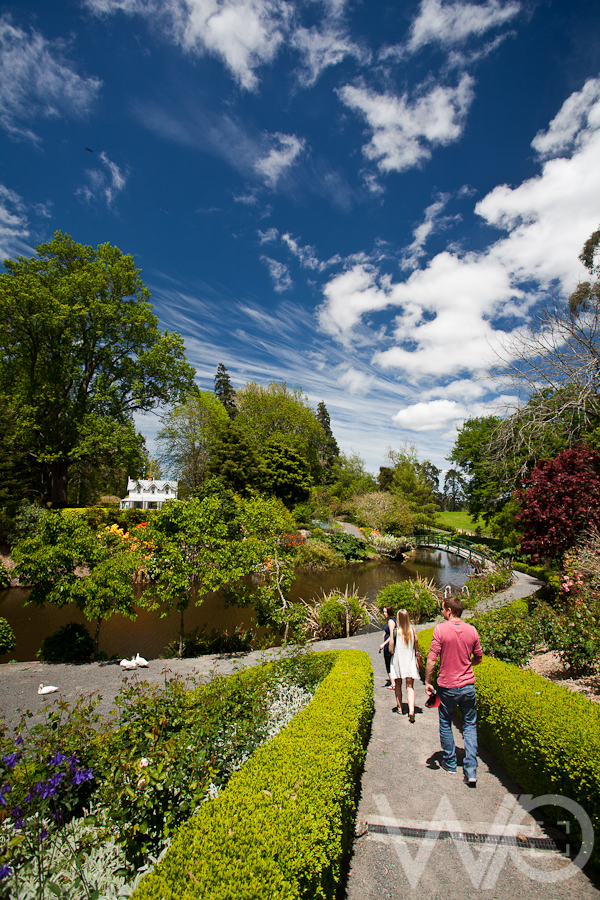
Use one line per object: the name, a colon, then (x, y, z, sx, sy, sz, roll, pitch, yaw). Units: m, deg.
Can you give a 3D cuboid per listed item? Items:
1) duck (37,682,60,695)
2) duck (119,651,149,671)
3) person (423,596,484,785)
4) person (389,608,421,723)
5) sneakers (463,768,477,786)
duck: (-4.681, 4.445, 9.603, 0.339, 0.200, 0.161, 11, -49, -15)
duck: (-3.527, 4.534, 11.017, 0.578, 0.282, 0.438, -1, -7, -19)
person: (1.777, 2.761, 5.960, 0.629, 2.032, 0.602, -5, -7, 11)
person: (1.531, 3.098, 7.682, 0.413, 1.691, 1.572, -5, -7, 8)
sneakers: (1.860, 3.631, 5.688, 0.107, 0.127, 0.304, -2, -38, 8)
